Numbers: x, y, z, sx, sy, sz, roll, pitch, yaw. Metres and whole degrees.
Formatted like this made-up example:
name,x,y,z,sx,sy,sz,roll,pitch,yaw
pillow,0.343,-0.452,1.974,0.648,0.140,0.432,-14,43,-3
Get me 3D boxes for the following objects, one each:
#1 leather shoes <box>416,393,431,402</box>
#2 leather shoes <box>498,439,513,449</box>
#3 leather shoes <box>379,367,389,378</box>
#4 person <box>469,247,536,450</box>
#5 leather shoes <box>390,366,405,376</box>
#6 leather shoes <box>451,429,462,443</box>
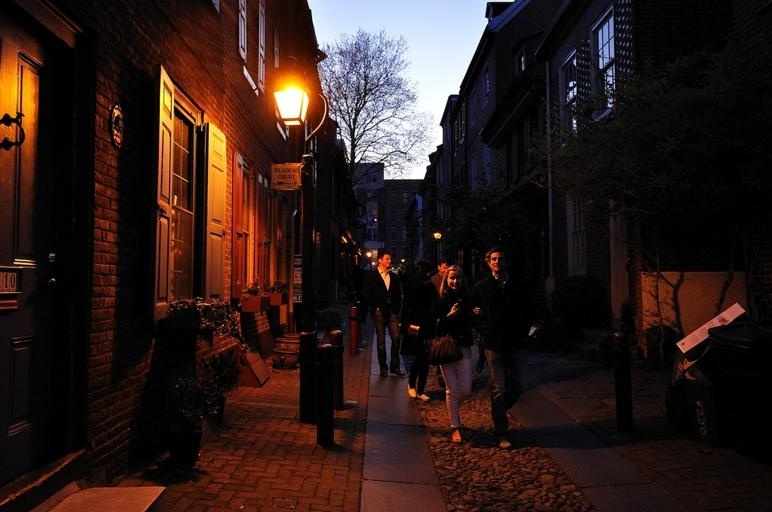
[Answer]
name,x,y,z,sx,sy,sz,roll,pitch,yaw
leather shoes,0.614,2.272,9.432,0.083,0.077,0.207,2,-9,-34
leather shoes,1.500,2.367,7.386,0.076,0.086,0.200,-2,-18,-6
leather shoes,-0.052,2.206,11.067,0.099,0.132,0.143,2,8,4
person,1.437,1.177,7.602,0.693,2.461,0.561,6,8,34
leather shoes,0.203,2.210,11.152,0.326,0.238,0.112,-8,-10,29
leather shoes,0.927,2.328,7.671,0.148,0.180,0.294,2,7,7
